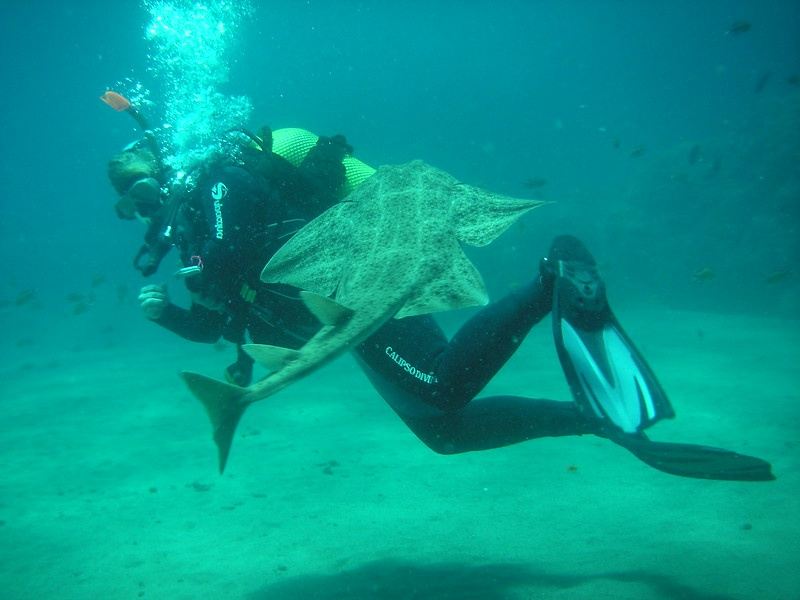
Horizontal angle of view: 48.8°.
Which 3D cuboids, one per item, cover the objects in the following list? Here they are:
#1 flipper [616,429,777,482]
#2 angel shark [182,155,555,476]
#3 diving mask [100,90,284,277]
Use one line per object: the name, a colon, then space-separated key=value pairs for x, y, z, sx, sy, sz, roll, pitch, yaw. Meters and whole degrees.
flipper: x=4.464 y=2.357 z=13.354 sx=2.239 sy=0.784 sz=0.204 roll=-2 pitch=6 yaw=7
angel shark: x=-0.419 y=0.057 z=12.925 sx=4.377 sy=4.173 sz=1.562 roll=-3 pitch=6 yaw=2
diving mask: x=-2.820 y=-1.741 z=14.794 sx=4.247 sy=2.662 sz=5.401 roll=1 pitch=9 yaw=7
